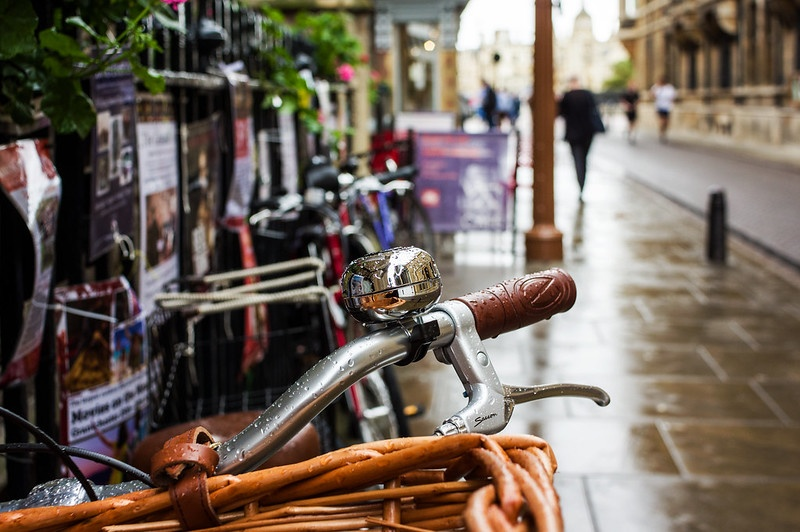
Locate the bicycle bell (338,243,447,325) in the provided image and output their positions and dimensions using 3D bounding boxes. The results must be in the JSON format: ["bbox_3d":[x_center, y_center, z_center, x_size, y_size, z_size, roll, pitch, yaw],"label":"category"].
[{"bbox_3d":[-0.018,0.036,1.519,0.176,0.155,0.196,-11,3,8],"label":"bicycle bell"}]
